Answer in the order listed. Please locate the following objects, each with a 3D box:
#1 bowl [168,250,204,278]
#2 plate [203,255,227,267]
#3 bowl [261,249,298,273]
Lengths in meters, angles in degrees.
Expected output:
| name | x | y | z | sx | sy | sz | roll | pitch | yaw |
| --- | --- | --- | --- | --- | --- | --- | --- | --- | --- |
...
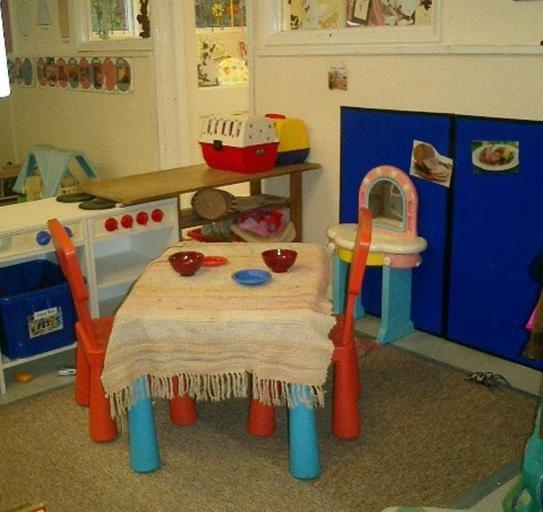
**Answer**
| name | x | y | z | sx | sy | sz | roll | pitch | yaw |
| --- | --- | --- | --- | --- | --- | --- | --- | --- | --- |
| bowl | -0.311 | 0.027 | 1.804 | 0.120 | 0.067 | 0.148 | -4 | 22 | -9 |
| plate | -0.216 | 0.021 | 1.892 | 0.095 | 0.013 | 0.096 | -3 | 22 | -5 |
| bowl | 0.029 | 0.013 | 1.808 | 0.122 | 0.071 | 0.129 | 0 | 22 | 0 |
